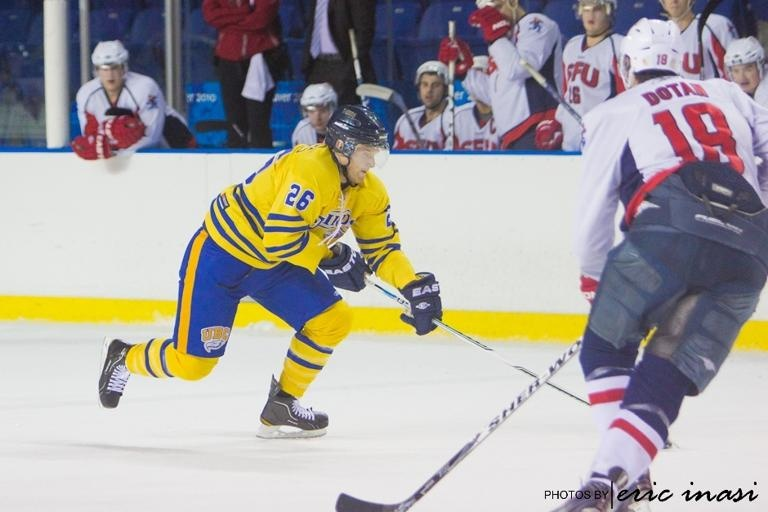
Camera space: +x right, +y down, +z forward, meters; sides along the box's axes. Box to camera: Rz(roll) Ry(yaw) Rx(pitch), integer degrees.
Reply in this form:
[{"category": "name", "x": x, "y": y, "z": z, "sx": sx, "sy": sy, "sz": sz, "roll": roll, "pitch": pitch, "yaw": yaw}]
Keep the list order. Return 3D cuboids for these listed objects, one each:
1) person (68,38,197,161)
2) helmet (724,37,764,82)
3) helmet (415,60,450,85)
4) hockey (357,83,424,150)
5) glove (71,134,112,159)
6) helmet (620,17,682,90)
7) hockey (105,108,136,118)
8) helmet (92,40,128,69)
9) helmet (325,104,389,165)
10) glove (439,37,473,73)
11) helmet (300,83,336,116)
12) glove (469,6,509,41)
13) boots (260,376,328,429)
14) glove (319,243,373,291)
[{"category": "person", "x": -1.933, "y": -1.041, "z": 8.224, "sx": 0.844, "sy": 0.618, "sz": 1.230, "roll": 12, "pitch": 10, "yaw": -2}, {"category": "helmet", "x": 2.256, "y": -1.257, "z": 7.394, "sx": 0.249, "sy": 0.242, "sz": 0.204, "roll": -18, "pitch": -6, "yaw": -39}, {"category": "helmet", "x": 0.318, "y": -1.250, "z": 7.792, "sx": 0.141, "sy": 0.185, "sz": 0.145, "roll": -2, "pitch": 28, "yaw": 5}, {"category": "hockey", "x": 0.050, "y": -0.980, "z": 7.770, "sx": 0.136, "sy": 0.440, "sz": 0.449, "roll": -20, "pitch": 29, "yaw": -35}, {"category": "glove", "x": -1.937, "y": -0.727, "z": 7.692, "sx": 0.310, "sy": 0.138, "sz": 0.122, "roll": 11, "pitch": 3, "yaw": 13}, {"category": "helmet", "x": 1.233, "y": -0.951, "z": 5.425, "sx": 0.266, "sy": 0.309, "sz": 0.331, "roll": 4, "pitch": 16, "yaw": 5}, {"category": "hockey", "x": -1.777, "y": -0.977, "z": 7.785, "sx": 0.146, "sy": 0.037, "sz": 0.077, "roll": 5, "pitch": 41, "yaw": -17}, {"category": "helmet", "x": -1.843, "y": -1.369, "z": 7.814, "sx": 0.220, "sy": 0.179, "sz": 0.181, "roll": 2, "pitch": 11, "yaw": -18}, {"category": "helmet", "x": -0.128, "y": -0.651, "z": 5.869, "sx": 0.301, "sy": 0.253, "sz": 0.238, "roll": 22, "pitch": 20, "yaw": -1}, {"category": "glove", "x": 0.477, "y": -1.348, "z": 7.703, "sx": 0.221, "sy": 0.247, "sz": 0.185, "roll": 7, "pitch": 12, "yaw": 4}, {"category": "helmet", "x": -0.436, "y": -1.068, "z": 7.626, "sx": 0.198, "sy": 0.170, "sz": 0.188, "roll": -10, "pitch": -35, "yaw": 9}, {"category": "glove", "x": 0.699, "y": -1.521, "z": 7.615, "sx": 0.228, "sy": 0.228, "sz": 0.097, "roll": 45, "pitch": -2, "yaw": 14}, {"category": "boots", "x": -0.495, "y": 0.808, "z": 6.245, "sx": 0.482, "sy": 0.318, "sz": 0.166, "roll": 3, "pitch": 5, "yaw": -10}, {"category": "glove", "x": -0.206, "y": 0.054, "z": 6.065, "sx": 0.282, "sy": 0.160, "sz": 0.279, "roll": -2, "pitch": -23, "yaw": 30}]
